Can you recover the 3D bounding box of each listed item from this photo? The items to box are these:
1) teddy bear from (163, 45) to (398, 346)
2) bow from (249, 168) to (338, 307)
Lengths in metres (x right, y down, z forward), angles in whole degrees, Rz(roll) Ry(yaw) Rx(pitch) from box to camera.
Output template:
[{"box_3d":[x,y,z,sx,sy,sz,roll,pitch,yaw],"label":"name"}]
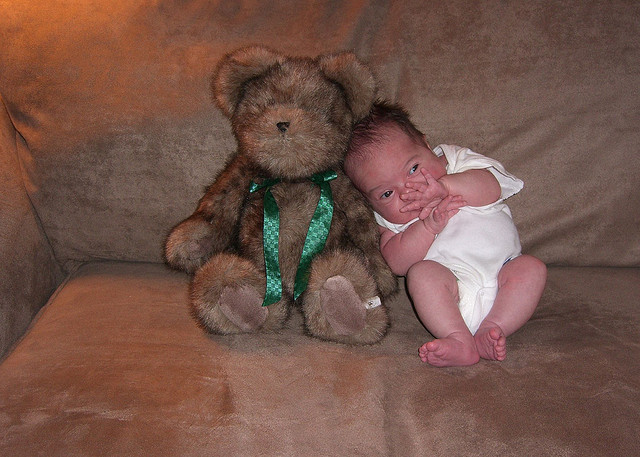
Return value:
[{"box_3d":[-0.094,-0.084,1.922,0.819,0.939,0.699,0,18,2],"label":"teddy bear"},{"box_3d":[-0.092,0.003,1.762,0.219,0.366,0.199,19,34,30],"label":"bow"}]
